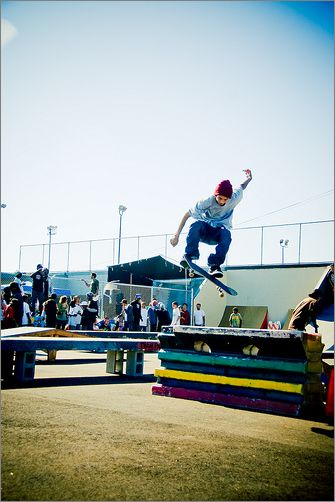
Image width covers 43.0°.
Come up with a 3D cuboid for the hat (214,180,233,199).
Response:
[{"bbox_3d":[0.719,-0.814,5.431,0.228,0.232,0.439,4,-4,8],"label":"hat"}]

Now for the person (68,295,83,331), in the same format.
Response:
[{"bbox_3d":[-2.613,1.781,12.008,0.362,0.925,0.469,6,-4,-20],"label":"person"}]

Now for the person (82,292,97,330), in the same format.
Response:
[{"bbox_3d":[-2.265,1.777,12.367,0.403,1.059,0.940,5,-4,-11],"label":"person"}]

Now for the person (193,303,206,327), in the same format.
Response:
[{"bbox_3d":[1.098,2.279,15.006,0.354,0.766,0.802,4,-4,3],"label":"person"}]

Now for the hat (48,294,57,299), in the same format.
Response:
[{"bbox_3d":[-2.852,1.146,10.597,0.166,0.085,0.228,14,-26,-31],"label":"hat"}]

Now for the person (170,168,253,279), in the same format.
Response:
[{"bbox_3d":[0.600,-0.268,5.870,0.612,1.274,0.855,8,-5,-44],"label":"person"}]

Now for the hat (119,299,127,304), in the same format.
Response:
[{"bbox_3d":[-1.449,1.748,14.477,0.168,0.118,0.237,6,7,35],"label":"hat"}]

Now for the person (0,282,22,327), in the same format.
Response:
[{"bbox_3d":[-2.996,1.071,8.177,0.305,0.313,0.952,-10,-40,-15],"label":"person"}]

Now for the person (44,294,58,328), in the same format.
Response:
[{"bbox_3d":[-2.948,1.493,10.642,0.331,0.864,0.507,5,-4,-13],"label":"person"}]
